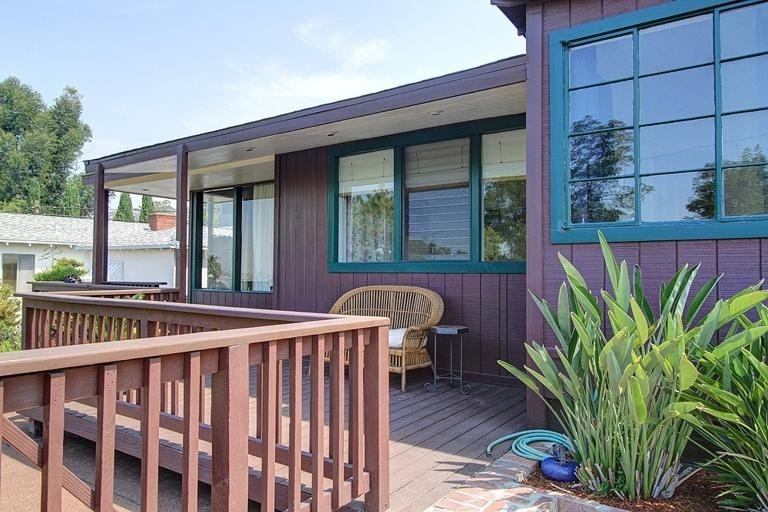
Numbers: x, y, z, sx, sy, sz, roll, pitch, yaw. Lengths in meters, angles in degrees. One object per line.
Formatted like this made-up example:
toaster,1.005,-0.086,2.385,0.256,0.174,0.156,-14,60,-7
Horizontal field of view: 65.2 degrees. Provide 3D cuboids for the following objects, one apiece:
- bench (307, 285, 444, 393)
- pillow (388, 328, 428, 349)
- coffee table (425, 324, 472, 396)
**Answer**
bench,-0.067,0.853,6.711,1.477,0.989,0.818,0,3,29
pillow,0.257,0.859,6.245,0.335,0.124,0.333,13,-17,-38
coffee table,0.688,1.101,6.502,0.527,0.629,0.556,10,-4,6
